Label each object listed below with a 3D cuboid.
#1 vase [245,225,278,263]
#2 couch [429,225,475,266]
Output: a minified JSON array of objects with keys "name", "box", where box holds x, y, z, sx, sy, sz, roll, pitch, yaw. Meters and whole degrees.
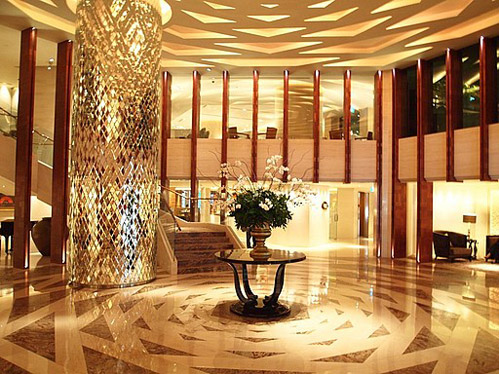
[{"name":"vase","box":[0.198,1.006,6.896,0.517,0.689,0.504,-1,-2,-6]},{"name":"couch","box":[6.773,1.962,12.565,1.429,0.938,0.980,0,2,-36]}]
